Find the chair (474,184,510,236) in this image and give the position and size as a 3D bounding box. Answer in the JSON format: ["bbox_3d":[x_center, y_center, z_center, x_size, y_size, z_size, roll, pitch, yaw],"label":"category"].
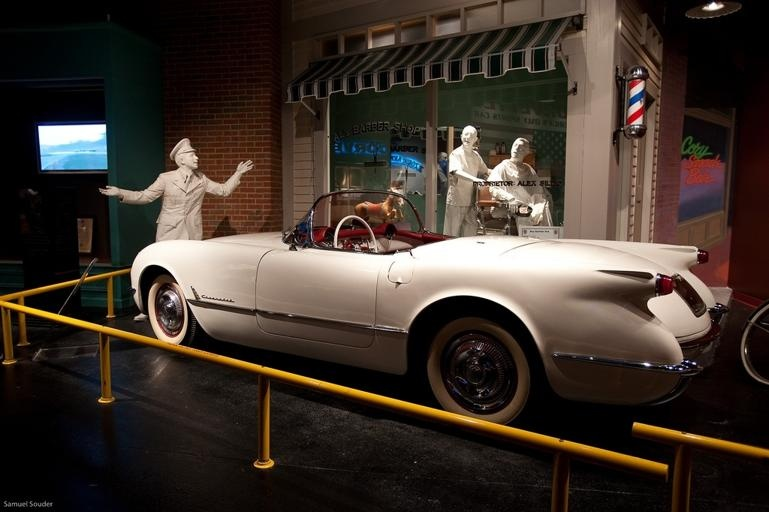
[{"bbox_3d":[1.640,-0.745,8.918,0.671,0.974,0.790,1,5,17],"label":"chair"}]

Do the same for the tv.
[{"bbox_3d":[-5.431,-1.889,9.526,1.379,0.861,0.150,1,13,15],"label":"tv"}]
